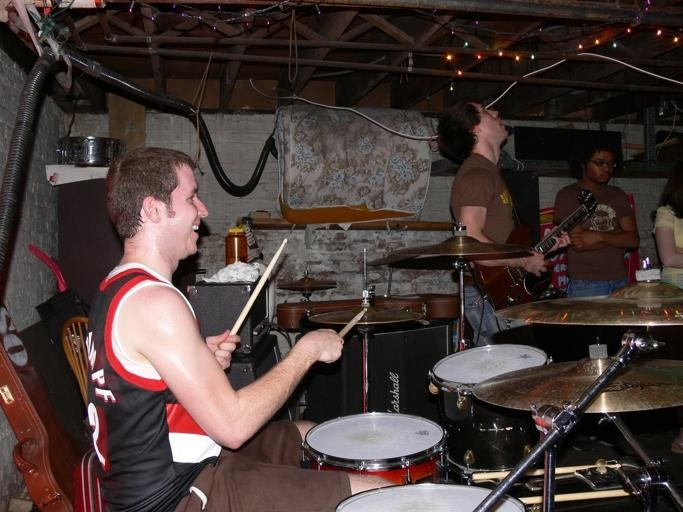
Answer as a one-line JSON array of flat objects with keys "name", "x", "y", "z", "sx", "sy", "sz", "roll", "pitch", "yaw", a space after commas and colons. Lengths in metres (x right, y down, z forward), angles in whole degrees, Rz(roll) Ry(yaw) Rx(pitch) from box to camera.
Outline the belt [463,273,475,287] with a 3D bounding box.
[{"name": "belt", "x": 0.895, "y": 0.162, "z": 4.817, "sx": 0.078, "sy": 0.121, "sz": 0.062, "roll": 1, "pitch": 36, "yaw": 15}]

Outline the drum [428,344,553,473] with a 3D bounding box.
[{"name": "drum", "x": 0.807, "y": 0.864, "z": 4.029, "sx": 0.712, "sy": 0.497, "sz": 0.688, "roll": -2, "pitch": -7, "yaw": 0}]

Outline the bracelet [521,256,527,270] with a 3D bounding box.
[{"name": "bracelet", "x": 1.273, "y": 0.048, "z": 4.777, "sx": 0.015, "sy": 0.057, "sz": 0.054, "roll": 13, "pitch": 40, "yaw": 8}]

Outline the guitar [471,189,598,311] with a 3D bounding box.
[{"name": "guitar", "x": 1.553, "y": -0.085, "z": 5.073, "sx": 1.244, "sy": 0.139, "sz": 0.533, "roll": -44, "pitch": 27, "yaw": -23}]

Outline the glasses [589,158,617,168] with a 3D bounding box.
[{"name": "glasses", "x": 2.041, "y": -0.714, "z": 5.307, "sx": 0.207, "sy": 0.067, "sz": 0.101, "roll": -1, "pitch": 3, "yaw": -16}]
